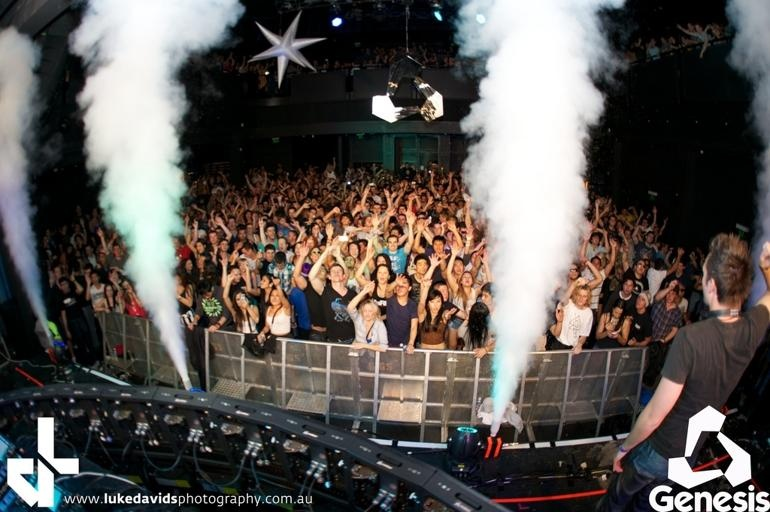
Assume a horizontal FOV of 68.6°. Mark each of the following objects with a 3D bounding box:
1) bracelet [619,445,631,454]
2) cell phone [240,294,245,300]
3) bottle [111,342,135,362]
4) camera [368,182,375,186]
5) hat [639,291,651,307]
[{"bbox_3d":[2.566,2.039,6.017,0.096,0.078,0.097,6,3,-7],"label":"bracelet"},{"bbox_3d":[-2.090,0.583,8.342,0.069,0.066,0.016,4,-11,-33],"label":"cell phone"},{"bbox_3d":[-4.266,1.553,9.222,0.306,0.384,0.265,-4,-7,-5],"label":"bottle"},{"bbox_3d":[-0.397,-2.007,15.574,0.233,0.070,0.262,3,14,8],"label":"camera"},{"bbox_3d":[4.061,0.650,8.821,0.168,0.217,0.195,0,51,47],"label":"hat"}]
